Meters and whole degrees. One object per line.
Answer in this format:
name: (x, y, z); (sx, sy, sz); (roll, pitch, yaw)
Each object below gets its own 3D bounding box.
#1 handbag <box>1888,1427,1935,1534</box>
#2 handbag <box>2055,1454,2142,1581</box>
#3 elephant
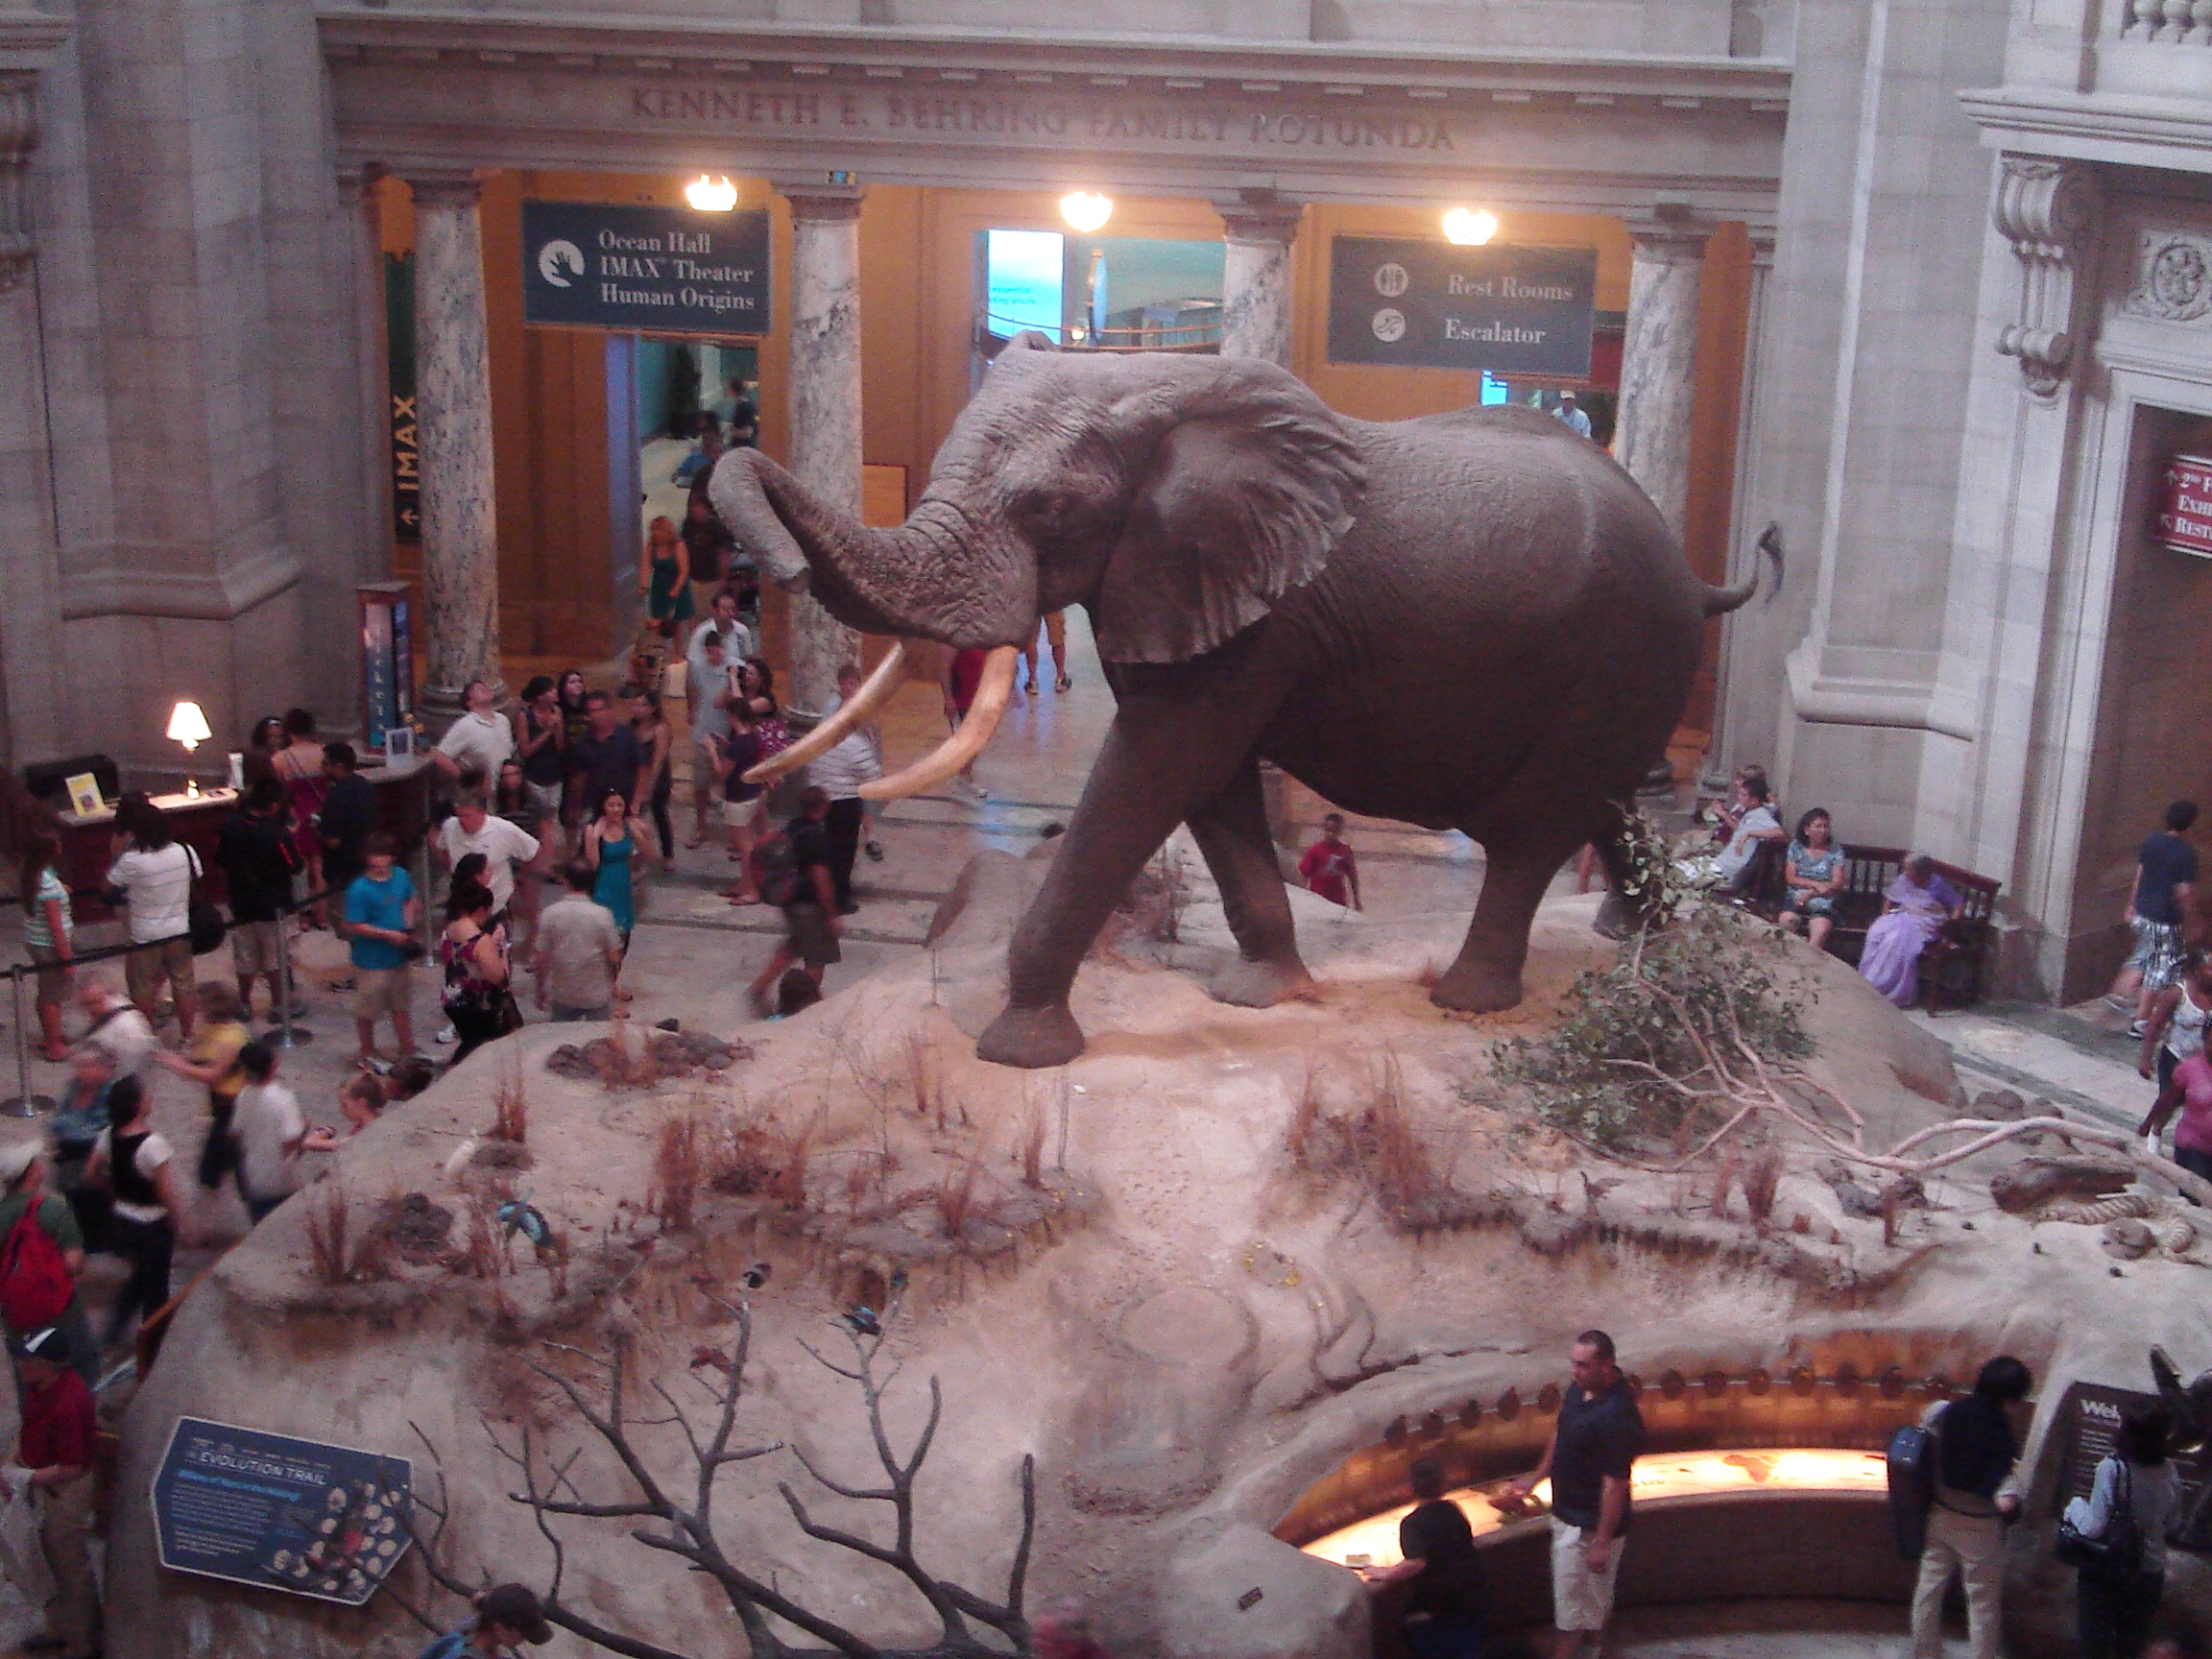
handbag: (2.960, 2.395, 6.740); (0.137, 0.389, 0.188); (3, 13, 9)
handbag: (3.524, 2.412, 6.456); (0.290, 0.448, 0.358); (-3, 4, 32)
elephant: (0.951, -0.648, 9.654); (5.370, 3.620, 2.214); (-2, 16, -15)
